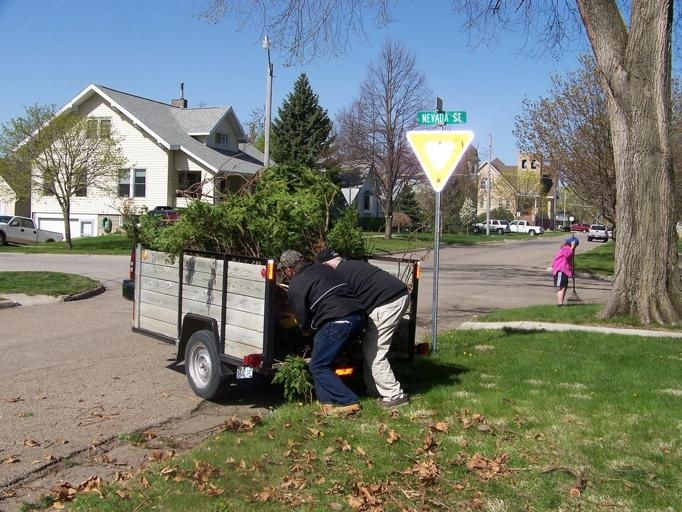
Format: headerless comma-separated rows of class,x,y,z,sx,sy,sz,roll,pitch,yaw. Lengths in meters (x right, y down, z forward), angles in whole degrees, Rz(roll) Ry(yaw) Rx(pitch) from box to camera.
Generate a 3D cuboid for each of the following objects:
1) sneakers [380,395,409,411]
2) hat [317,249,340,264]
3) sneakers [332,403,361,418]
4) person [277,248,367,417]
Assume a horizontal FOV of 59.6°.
sneakers,0.643,1.738,7.021,0.255,0.129,0.152,2,-13,-18
hat,-0.168,-0.004,7.413,0.207,0.181,0.168,0,-17,18
sneakers,0.066,1.764,6.848,0.306,0.139,0.119,-6,2,-9
person,-0.223,0.869,6.954,0.927,1.829,0.422,1,5,20
